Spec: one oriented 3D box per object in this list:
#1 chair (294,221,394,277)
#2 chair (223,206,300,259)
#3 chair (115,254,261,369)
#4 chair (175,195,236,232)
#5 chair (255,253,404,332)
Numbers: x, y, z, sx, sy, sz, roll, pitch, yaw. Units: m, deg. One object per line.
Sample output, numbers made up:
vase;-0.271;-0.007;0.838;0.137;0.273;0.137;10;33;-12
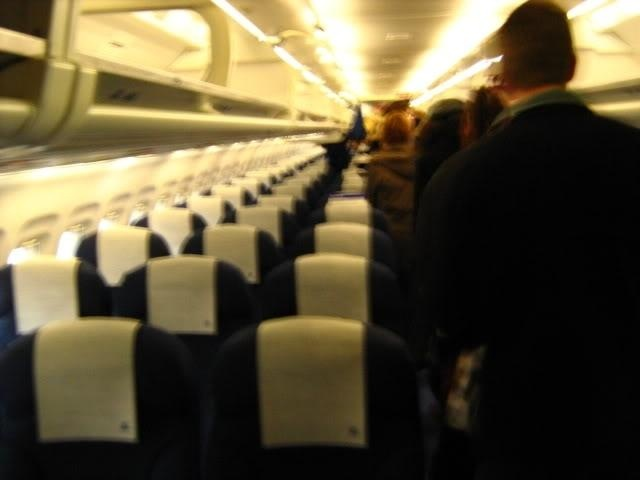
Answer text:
chair;0.150;0.154;3.109;0.585;0.525;0.287;0;0;4
chair;-0.476;-0.150;4.234;0.667;0.553;0.372;2;8;7
chair;-0.644;0.298;2.785;0.725;0.636;0.565;1;9;1
chair;-1.098;-0.296;5.106;0.426;0.522;0.522;-10;-7;-4
chair;0.051;0.234;2.370;0.657;0.544;0.348;1;4;11
